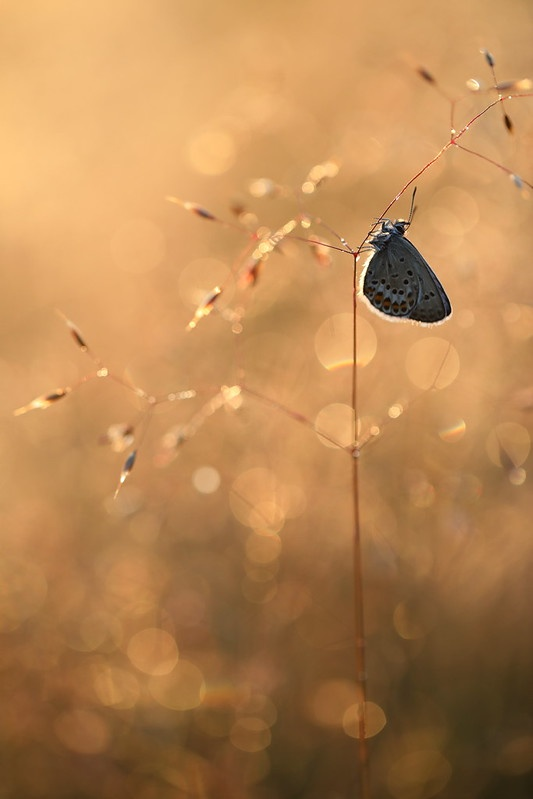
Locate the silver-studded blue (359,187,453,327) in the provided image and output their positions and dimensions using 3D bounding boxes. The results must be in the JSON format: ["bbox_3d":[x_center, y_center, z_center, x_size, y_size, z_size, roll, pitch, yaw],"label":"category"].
[{"bbox_3d":[0.159,-0.181,0.948,0.121,0.147,0.146,-4,65,4],"label":"silver-studded blue"}]
